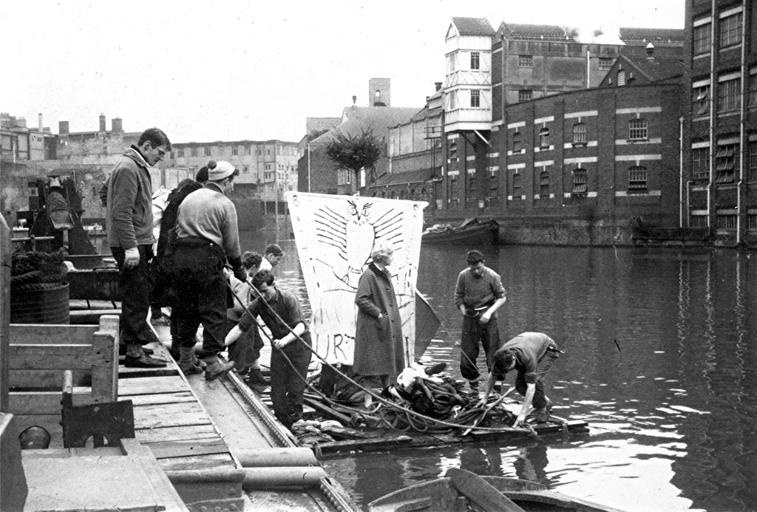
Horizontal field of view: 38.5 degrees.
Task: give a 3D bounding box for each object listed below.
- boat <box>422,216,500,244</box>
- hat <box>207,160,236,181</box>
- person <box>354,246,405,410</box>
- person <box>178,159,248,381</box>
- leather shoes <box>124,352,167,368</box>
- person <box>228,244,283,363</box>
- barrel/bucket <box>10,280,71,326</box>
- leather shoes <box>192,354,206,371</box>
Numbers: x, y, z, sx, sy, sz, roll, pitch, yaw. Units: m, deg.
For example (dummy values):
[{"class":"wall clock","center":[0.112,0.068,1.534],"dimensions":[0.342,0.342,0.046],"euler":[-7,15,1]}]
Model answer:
[{"class":"boat","center":[5.173,-1.434,65.280],"dimensions":[2.330,1.907,5.043],"euler":[-3,9,-34]},{"class":"hat","center":[-2.423,-1.336,16.753],"dimensions":[0.279,0.217,0.388],"euler":[8,23,32]},{"class":"person","center":[0.014,0.967,19.423],"dimensions":[0.905,2.209,0.625],"euler":[1,8,-6]},{"class":"person","center":[-2.618,0.243,16.547],"dimensions":[1.021,3.295,0.712],"euler":[0,8,-11]},{"class":"leather shoes","center":[-3.480,1.552,16.130],"dimensions":[0.524,0.229,0.246],"euler":[-1,3,-10]},{"class":"person","center":[-2.207,0.892,19.168],"dimensions":[0.808,2.560,0.999],"euler":[-8,39,-18]},{"class":"barrel/bucket","center":[-5.190,0.683,16.788],"dimensions":[0.782,0.469,0.804],"euler":[20,-8,3]},{"class":"leather shoes","center":[-2.867,1.689,17.234],"dimensions":[0.144,0.175,0.433],"euler":[1,3,-1]}]
